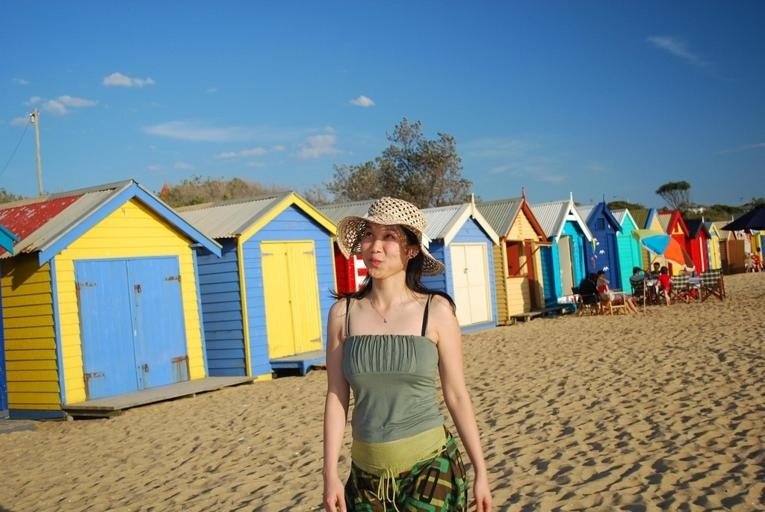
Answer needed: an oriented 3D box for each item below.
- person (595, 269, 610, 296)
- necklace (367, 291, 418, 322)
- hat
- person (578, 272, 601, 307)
[{"bbox_3d":[7.635,0.967,23.769,0.389,0.810,0.906,-2,6,18],"label":"person"},{"bbox_3d":[0.062,0.474,6.298,0.349,0.286,0.137,0,-39,18],"label":"necklace"},{"bbox_3d":[0.149,-0.352,6.738,0.716,0.477,0.887,-6,-33,27],"label":"hat"},{"bbox_3d":[7.312,1.122,23.954,0.556,1.100,0.831,-3,18,-4],"label":"person"}]
